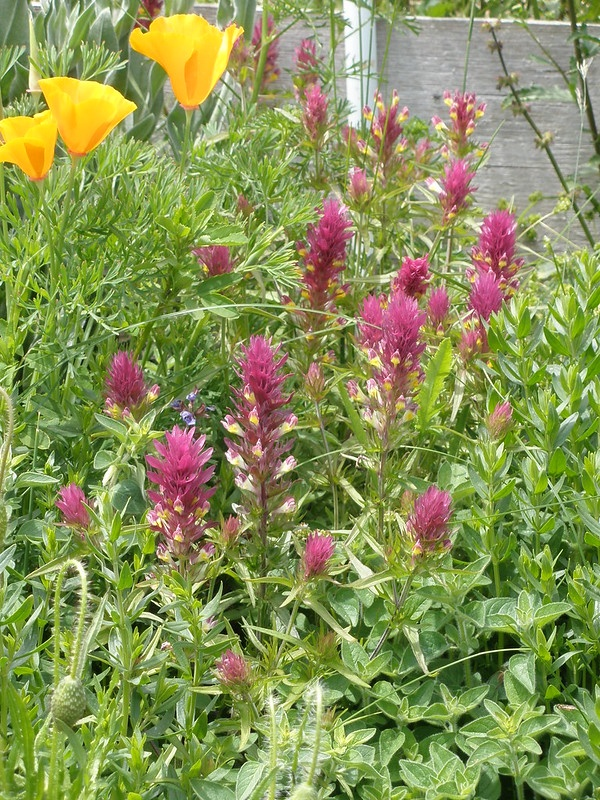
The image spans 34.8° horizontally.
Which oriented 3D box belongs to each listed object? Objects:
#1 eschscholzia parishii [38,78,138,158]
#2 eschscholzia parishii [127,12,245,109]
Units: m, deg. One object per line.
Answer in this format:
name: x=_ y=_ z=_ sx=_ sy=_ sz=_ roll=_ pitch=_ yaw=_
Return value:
eschscholzia parishii: x=-0.289 y=-0.351 z=1.252 sx=0.095 sy=0.087 sz=0.096 roll=3 pitch=11 yaw=-33
eschscholzia parishii: x=-0.169 y=-0.505 z=1.436 sx=0.152 sy=0.137 sz=0.130 roll=-4 pitch=22 yaw=-23
